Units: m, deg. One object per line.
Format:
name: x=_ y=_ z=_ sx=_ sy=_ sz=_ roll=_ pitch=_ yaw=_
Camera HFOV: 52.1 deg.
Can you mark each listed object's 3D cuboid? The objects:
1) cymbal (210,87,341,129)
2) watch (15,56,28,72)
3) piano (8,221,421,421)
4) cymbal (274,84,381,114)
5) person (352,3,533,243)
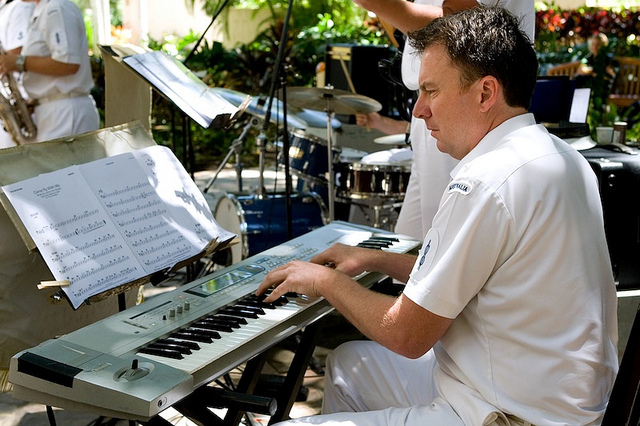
cymbal: x=-0.340 y=-0.825 z=5.222 sx=0.850 sy=0.074 sz=0.769 roll=18 pitch=3 yaw=-37
watch: x=-1.836 y=-0.914 z=4.013 sx=0.084 sy=0.073 sz=0.078 roll=0 pitch=2 yaw=-33
piano: x=-0.345 y=0.602 z=2.885 sx=1.717 sy=0.690 sz=1.202 roll=-15 pitch=-30 yaw=23
cymbal: x=0.101 y=-0.822 z=4.746 sx=0.678 sy=0.240 sz=0.323 roll=-2 pitch=20 yaw=-5
person: x=0.404 y=-0.445 z=3.304 sx=0.359 sy=1.328 sz=0.819 roll=7 pitch=19 yaw=-24
